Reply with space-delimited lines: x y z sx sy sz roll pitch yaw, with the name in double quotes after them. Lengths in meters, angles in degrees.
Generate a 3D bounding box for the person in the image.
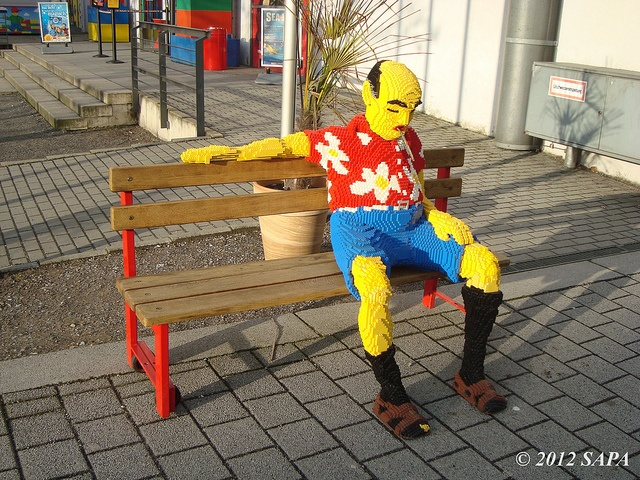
0.424 -0.029 2.736 0.938 1.852 1.530 -18 32 -33 "person"

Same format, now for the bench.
0.033 0.077 3.167 2.517 1.012 0.716 -9 38 -26 "bench"
